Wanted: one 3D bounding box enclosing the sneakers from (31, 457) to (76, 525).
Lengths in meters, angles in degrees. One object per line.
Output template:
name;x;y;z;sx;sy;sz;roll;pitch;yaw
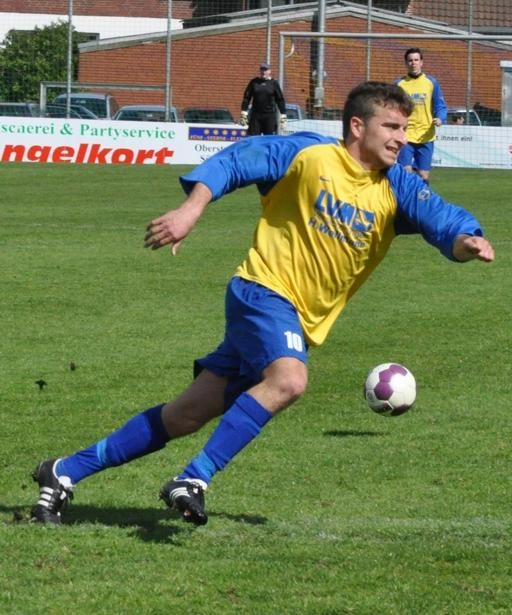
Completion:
sneakers;-0.797;0.717;3.524;0.160;0.274;0.105;-23;-26;31
